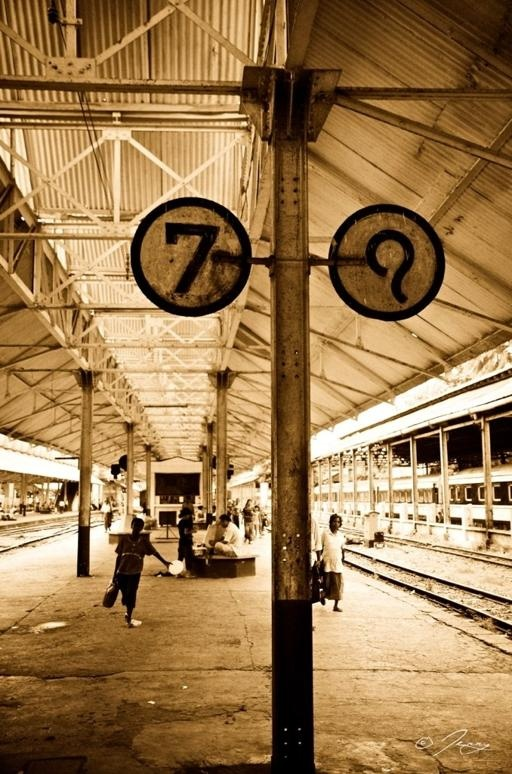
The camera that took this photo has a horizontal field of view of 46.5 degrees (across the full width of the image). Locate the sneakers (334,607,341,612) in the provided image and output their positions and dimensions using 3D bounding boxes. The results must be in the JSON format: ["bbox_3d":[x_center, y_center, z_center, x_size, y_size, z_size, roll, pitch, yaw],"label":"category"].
[{"bbox_3d":[1.433,3.885,10.481,0.150,0.070,0.237,0,-10,5],"label":"sneakers"}]

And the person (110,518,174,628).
[{"bbox_3d":[-1.937,2.885,9.525,0.719,1.644,1.879,2,-10,-9],"label":"person"}]

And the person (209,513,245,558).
[{"bbox_3d":[-0.820,3.806,15.471,0.810,1.036,2.551,2,-10,-5],"label":"person"}]

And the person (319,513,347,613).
[{"bbox_3d":[1.358,3.116,10.710,0.389,1.662,1.176,0,-9,8],"label":"person"}]

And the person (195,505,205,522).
[{"bbox_3d":[-3.213,7.271,34.358,0.669,1.478,0.737,2,-9,-2],"label":"person"}]

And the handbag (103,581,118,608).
[{"bbox_3d":[-2.150,3.070,8.834,0.186,0.367,0.395,4,-10,-16],"label":"handbag"}]
